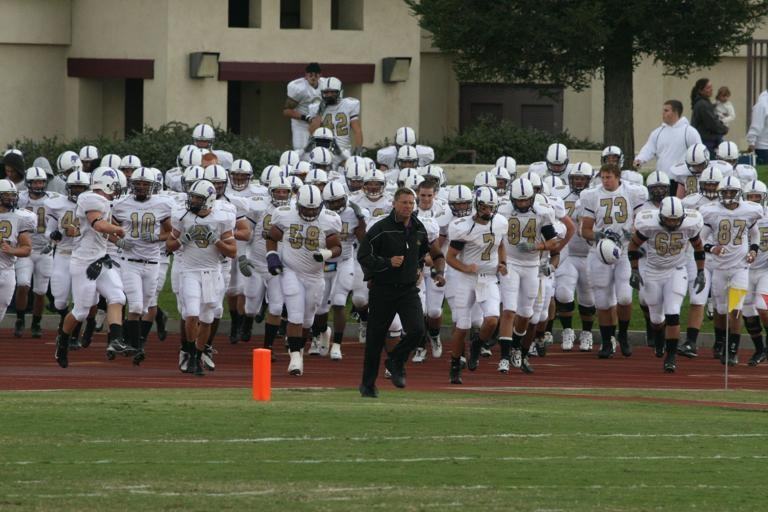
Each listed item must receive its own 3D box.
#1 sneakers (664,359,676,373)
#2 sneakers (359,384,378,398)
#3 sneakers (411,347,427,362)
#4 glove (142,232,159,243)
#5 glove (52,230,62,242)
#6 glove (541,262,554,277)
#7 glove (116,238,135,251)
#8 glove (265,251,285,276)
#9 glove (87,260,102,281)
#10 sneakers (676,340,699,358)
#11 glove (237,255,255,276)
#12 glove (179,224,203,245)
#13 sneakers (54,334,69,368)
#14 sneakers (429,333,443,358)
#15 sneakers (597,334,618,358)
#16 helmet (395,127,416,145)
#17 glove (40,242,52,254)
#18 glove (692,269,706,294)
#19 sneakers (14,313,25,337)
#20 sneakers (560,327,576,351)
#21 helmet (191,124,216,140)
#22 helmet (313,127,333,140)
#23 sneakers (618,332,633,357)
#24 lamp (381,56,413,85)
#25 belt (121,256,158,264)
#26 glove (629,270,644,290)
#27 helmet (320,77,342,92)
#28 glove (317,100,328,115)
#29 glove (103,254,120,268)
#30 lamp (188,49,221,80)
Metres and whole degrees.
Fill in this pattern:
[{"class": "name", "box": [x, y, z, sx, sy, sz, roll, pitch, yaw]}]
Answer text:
[{"class": "sneakers", "box": [3.983, 1.530, 22.895, 0.144, 0.178, 0.119, 1, -1, -1]}, {"class": "sneakers", "box": [-0.199, 1.652, 20.162, 0.203, 0.163, 0.144, 1, -1, -4]}, {"class": "sneakers", "box": [0.493, 1.425, 23.791, 0.174, 0.220, 0.296, 1, -1, 2]}, {"class": "glove", "box": [-3.229, -0.256, 22.586, 0.216, 0.133, 0.159, 1, -1, -9]}, {"class": "glove", "box": [-4.794, -0.303, 23.991, 0.200, 0.100, 0.190, -4, 24, -27]}, {"class": "glove", "box": [2.296, 0.186, 22.988, 0.140, 0.169, 0.250, 1, -1, 20]}, {"class": "glove", "box": [-3.598, -0.159, 22.460, 0.182, 0.164, 0.356, 1, -1, 22]}, {"class": "glove", "box": [-1.538, 0.122, 22.323, 0.150, 0.302, 0.251, -29, -26, 35]}, {"class": "glove", "box": [-3.910, 0.188, 22.056, 0.190, 0.244, 0.096, 1, -1, -9]}, {"class": "sneakers", "box": [4.302, 1.327, 23.460, 0.158, 0.185, 0.403, -2, 8, -15]}, {"class": "glove", "box": [-2.018, 0.149, 22.955, 0.087, 0.284, 0.240, -16, 2, 42]}, {"class": "glove", "box": [-2.546, -0.286, 21.721, 0.268, 0.250, 0.137, 1, -1, 29]}, {"class": "sneakers", "box": [-4.349, 1.273, 22.262, 0.188, 0.506, 0.233, -2, 7, -43]}, {"class": "sneakers", "box": [0.753, 1.317, 24.032, 0.142, 0.370, 0.169, -6, 0, 0]}, {"class": "sneakers", "box": [3.312, 1.348, 24.341, 0.173, 0.189, 0.487, 3, 8, 20]}, {"class": "helmet", "box": [0.332, -1.919, 26.569, 0.331, 0.316, 0.391, 2, 20, 4]}, {"class": "glove", "box": [-5.065, -0.107, 24.621, 0.173, 0.059, 0.135, -32, -3, -8]}, {"class": "glove", "box": [4.453, 0.364, 23.147, 0.107, 0.293, 0.231, 15, 11, 0]}, {"class": "sneakers", "box": [-5.668, 1.071, 25.450, 0.151, 0.399, 0.181, -1, -6, -8]}, {"class": "sneakers", "box": [2.779, 1.254, 24.856, 0.151, 0.173, 0.387, 1, 40, 11]}, {"class": "helmet", "box": [-2.952, -2.007, 26.680, 0.316, 0.292, 0.367, 1, 4, -4]}, {"class": "helmet", "box": [-1.027, -2.055, 27.599, 0.380, 0.198, 0.260, 1, -1, -10]}, {"class": "sneakers", "box": [3.565, 1.313, 24.300, 0.156, 0.406, 0.168, -5, -20, 2]}, {"class": "lamp", "box": [0.305, -4.419, 39.023, 0.596, 0.625, 0.735, 9, 12, 41]}, {"class": "belt", "box": [-3.381, 0.065, 22.740, 0.506, 0.088, 0.171, 1, -1, -34]}, {"class": "glove", "box": [3.582, 0.329, 23.345, 0.083, 0.238, 0.178, -2, -12, -26]}, {"class": "helmet", "box": [-0.969, -3.017, 28.867, 0.285, 0.284, 0.353, 1, -4, 13]}, {"class": "glove", "box": [-1.123, -2.630, 29.185, 0.198, 0.217, 0.231, -15, -38, -15]}, {"class": "glove", "box": [-3.744, 0.074, 22.472, 0.204, 0.193, 0.669, 1, 0, -8]}, {"class": "lamp", "box": [-4.185, -4.400, 37.682, 0.636, 0.665, 0.763, 6, 8, 42]}]
